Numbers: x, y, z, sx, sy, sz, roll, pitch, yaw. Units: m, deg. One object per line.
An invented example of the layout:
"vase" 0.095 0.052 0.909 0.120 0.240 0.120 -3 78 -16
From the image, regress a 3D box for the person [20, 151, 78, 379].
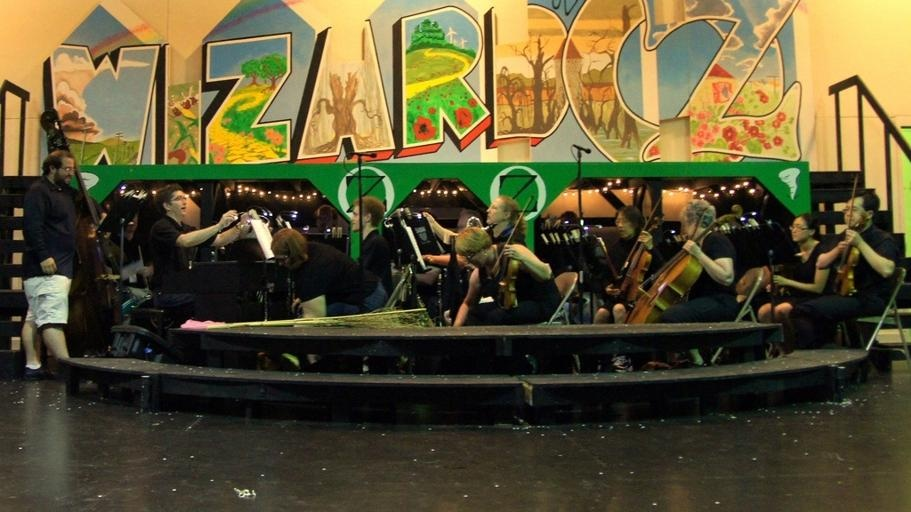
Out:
"person" -5.932 0.105 14.835 0.702 3.300 0.553 1 -1 -22
